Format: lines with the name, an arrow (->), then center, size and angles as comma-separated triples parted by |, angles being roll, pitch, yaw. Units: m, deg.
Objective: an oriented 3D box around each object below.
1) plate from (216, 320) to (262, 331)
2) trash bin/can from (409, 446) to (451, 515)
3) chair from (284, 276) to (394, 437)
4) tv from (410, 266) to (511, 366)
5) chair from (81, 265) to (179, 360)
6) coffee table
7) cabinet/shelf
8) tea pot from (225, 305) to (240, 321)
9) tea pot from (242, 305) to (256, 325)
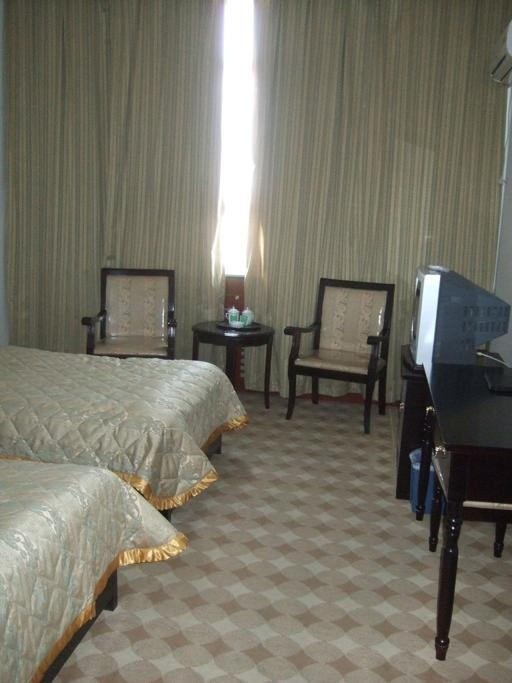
plate -> -0.181, -0.147, 4.921 | 0.428, 0.060, 0.408 | 3, 5, -1
trash bin/can -> 1.005, 0.793, 2.981 | 0.205, 0.324, 0.222 | -1, 3, 10
chair -> 0.780, 0.103, 4.689 | 0.797, 1.350, 0.690 | 8, 10, 29
tv -> 1.102, -0.123, 2.911 | 0.417, 0.552, 0.520 | 6, 1, 13
chair -> -1.184, -0.080, 4.918 | 0.782, 1.259, 0.626 | 1, 7, -7
coffee table -> -0.148, 0.302, 4.911 | 0.730, 0.866, 0.766 | -2, 3, -26
cabinet/shelf -> 0.831, 0.349, 2.217 | 0.262, 0.729, 0.718 | 5, 17, 14
tea pot -> -0.235, -0.274, 5.047 | 0.100, 0.197, 0.172 | -4, 11, -23
tea pot -> -0.101, -0.247, 4.977 | 0.144, 0.173, 0.116 | 10, 15, 34
